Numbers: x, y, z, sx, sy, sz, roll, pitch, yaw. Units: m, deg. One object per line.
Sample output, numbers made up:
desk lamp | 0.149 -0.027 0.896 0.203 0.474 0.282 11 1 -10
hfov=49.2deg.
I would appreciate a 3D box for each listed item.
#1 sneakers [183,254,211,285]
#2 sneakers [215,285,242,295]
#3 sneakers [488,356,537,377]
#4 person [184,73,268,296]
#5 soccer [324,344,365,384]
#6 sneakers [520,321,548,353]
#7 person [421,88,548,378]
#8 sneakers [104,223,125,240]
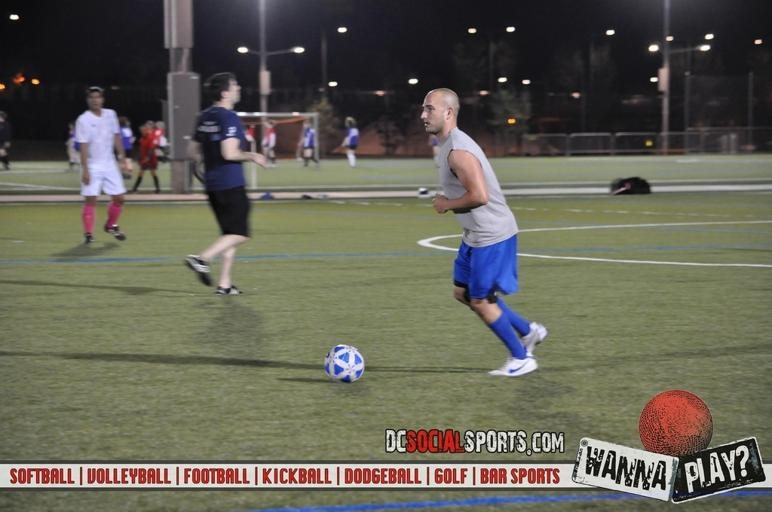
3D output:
sneakers | -2.027 0.149 9.089 0.245 0.327 0.246 -3 4 -8
sneakers | -1.742 0.373 9.443 0.318 0.093 0.099 2 4 -19
sneakers | 0.992 0.842 6.448 0.425 0.128 0.133 -2 -2 -6
person | -1.805 -0.822 9.367 0.823 2.498 0.947 -3 4 -10
soccer | -0.330 0.802 6.346 0.335 0.247 0.291 5 9 7
sneakers | 1.186 0.630 6.713 0.154 0.122 0.321 35 8 7
person | 0.752 -0.201 6.409 0.864 2.208 0.769 -2 4 8
sneakers | -4.509 -0.403 14.010 0.460 0.165 0.160 21 26 17
